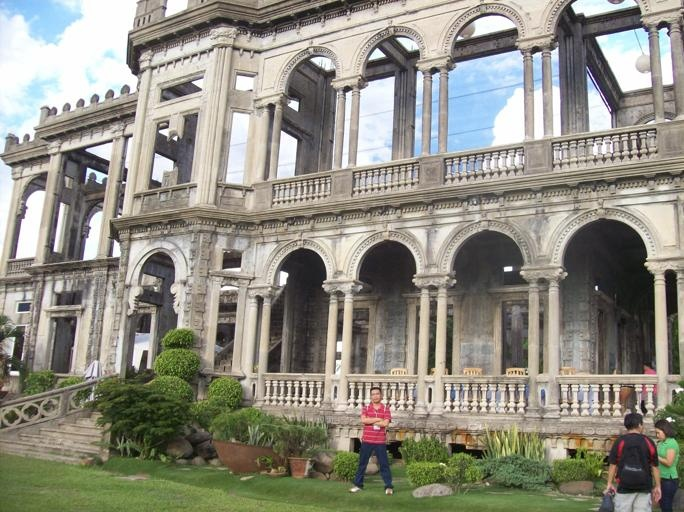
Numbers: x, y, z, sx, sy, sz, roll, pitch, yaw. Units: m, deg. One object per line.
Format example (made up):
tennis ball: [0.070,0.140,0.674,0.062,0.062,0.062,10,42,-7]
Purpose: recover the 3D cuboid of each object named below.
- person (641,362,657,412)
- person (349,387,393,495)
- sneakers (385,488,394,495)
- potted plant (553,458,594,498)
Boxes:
person: [7.712,3.260,17.180,0.397,1.345,1.458,-5,-16,23]
person: [0.684,3.855,14.493,0.825,2.182,0.982,5,-15,-10]
sneakers: [0.994,4.887,14.291,0.128,0.078,0.193,8,-7,-3]
potted plant: [5.123,4.861,15.181,0.695,0.752,0.624,-4,-13,21]
